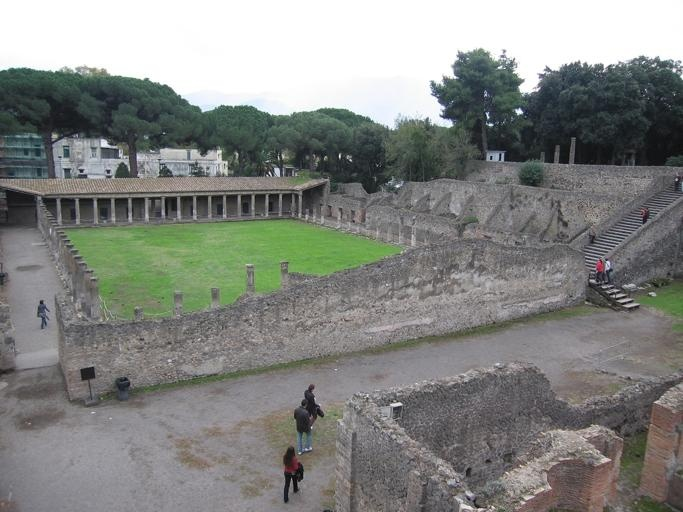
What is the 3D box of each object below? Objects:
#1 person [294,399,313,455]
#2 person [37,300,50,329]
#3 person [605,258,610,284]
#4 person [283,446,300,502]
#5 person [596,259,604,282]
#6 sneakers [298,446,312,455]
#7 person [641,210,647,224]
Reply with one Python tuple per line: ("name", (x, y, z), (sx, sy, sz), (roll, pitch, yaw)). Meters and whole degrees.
("person", (-1.143, 5.061, 17.739), (0.483, 1.475, 0.814), (-3, 8, -5))
("person", (-13.257, 2.512, 26.441), (0.508, 1.102, 1.687), (-6, 9, -27))
("person", (14.231, 0.807, 31.830), (0.309, 1.297, 0.806), (1, 9, 24))
("person", (-1.346, 5.760, 16.013), (0.514, 1.419, 0.674), (-3, 8, -5))
("person", (13.676, 0.812, 31.599), (0.548, 1.194, 0.325), (-10, 11, -43))
("sneakers", (-1.101, 5.722, 17.654), (0.380, 0.166, 0.165), (-9, 13, -31))
("person", (17.787, -2.278, 34.990), (0.277, 0.772, 0.942), (2, 9, 27))
